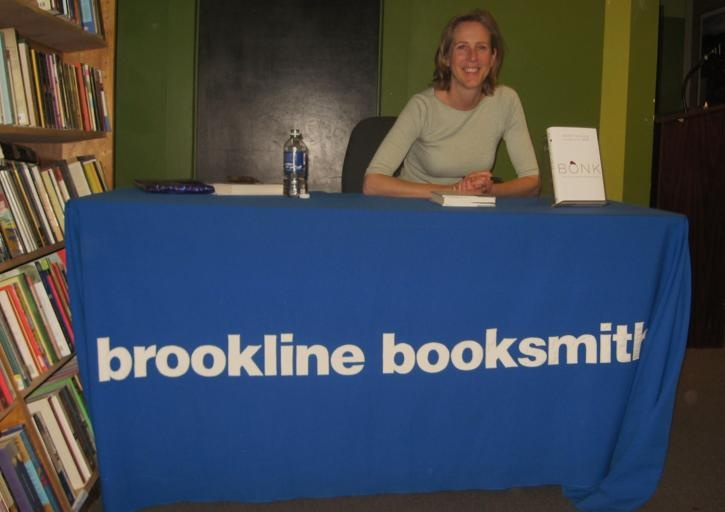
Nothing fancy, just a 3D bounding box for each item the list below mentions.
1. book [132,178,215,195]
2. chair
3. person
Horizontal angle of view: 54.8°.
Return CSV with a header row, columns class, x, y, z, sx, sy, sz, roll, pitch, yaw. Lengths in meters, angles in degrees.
class,x,y,z,sx,sy,sz,roll,pitch,yaw
book,-0.813,-0.301,3.006,0.230,0.044,0.137,2,12,-7
chair,-0.001,-0.543,4.020,0.359,0.437,0.496,0,-5,1
person,0.473,-0.760,3.624,0.951,0.989,0.644,-1,20,-7
